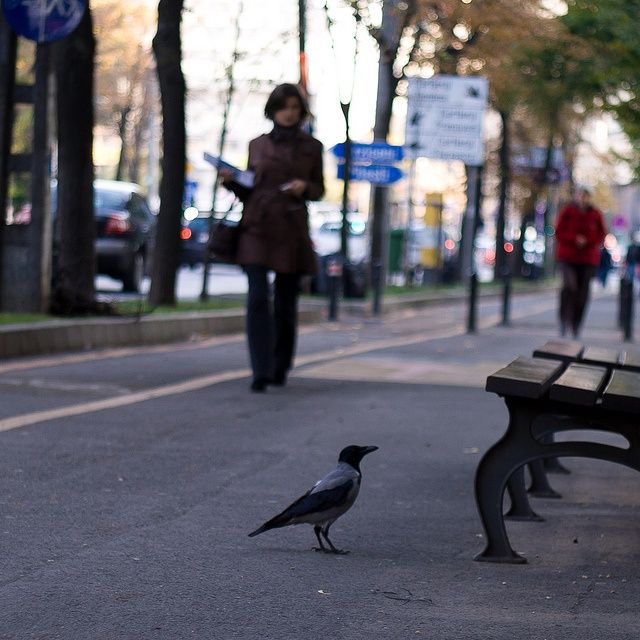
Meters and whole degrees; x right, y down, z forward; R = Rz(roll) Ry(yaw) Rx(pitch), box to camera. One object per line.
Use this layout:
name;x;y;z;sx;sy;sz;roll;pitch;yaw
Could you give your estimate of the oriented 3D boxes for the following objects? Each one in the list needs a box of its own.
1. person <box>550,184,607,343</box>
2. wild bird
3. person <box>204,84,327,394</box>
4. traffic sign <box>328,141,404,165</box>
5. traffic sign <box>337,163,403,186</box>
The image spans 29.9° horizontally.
person;3.193;-0.728;14.921;0.606;1.844;0.838;9;9;23
wild bird;-0.021;0.664;4.414;0.483;0.385;0.184;-3;-6;-2
person;-0.274;-0.511;7.315;0.615;1.846;0.472;2;9;-21
traffic sign;0.705;-2.526;17.990;1.082;0.320;0.498;6;8;-1
traffic sign;0.809;-2.259;18.305;0.902;0.286;0.431;1;9;-30
